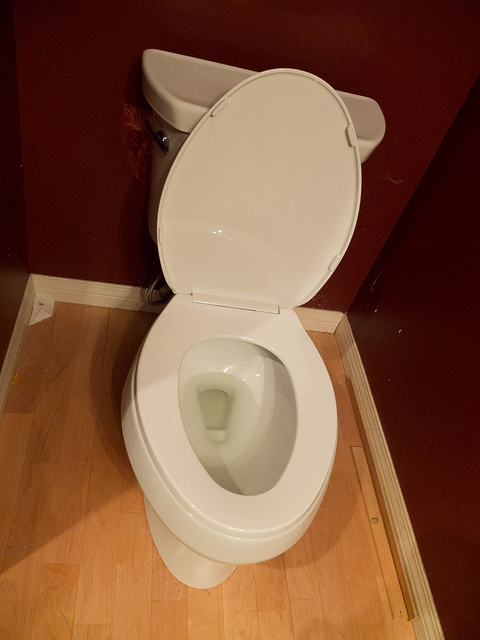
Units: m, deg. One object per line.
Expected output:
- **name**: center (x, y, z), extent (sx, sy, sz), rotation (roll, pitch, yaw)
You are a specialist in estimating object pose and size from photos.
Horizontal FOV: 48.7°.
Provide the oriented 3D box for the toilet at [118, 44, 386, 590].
- **toilet**: center (0.015, -0.002, 1.036), extent (0.322, 0.791, 0.867), rotation (4, 65, -4)
